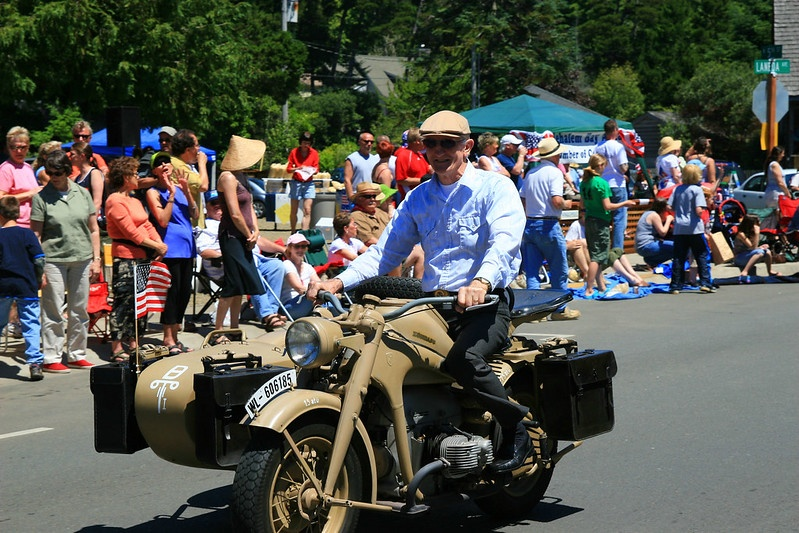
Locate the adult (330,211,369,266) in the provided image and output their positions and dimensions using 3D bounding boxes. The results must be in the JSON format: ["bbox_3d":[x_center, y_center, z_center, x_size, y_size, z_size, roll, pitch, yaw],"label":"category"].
[{"bbox_3d":[-0.824,-0.413,17.042,0.740,0.863,0.659,2,10,14],"label":"adult"}]

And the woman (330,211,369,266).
[{"bbox_3d":[-0.893,-0.465,17.385,0.740,0.863,0.659,2,10,14],"label":"woman"}]

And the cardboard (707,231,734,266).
[{"bbox_3d":[6.137,-0.336,21.570,0.184,0.504,0.530,-14,35,5],"label":"cardboard"}]

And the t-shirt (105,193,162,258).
[{"bbox_3d":[-3.591,-0.539,15.224,0.765,1.043,0.882,-2,3,12],"label":"t-shirt"}]

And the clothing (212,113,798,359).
[{"bbox_3d":[0.204,-0.297,11.311,3.688,2.360,2.128,1,-6,-3],"label":"clothing"}]

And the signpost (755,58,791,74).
[{"bbox_3d":[8.259,-4.462,24.960,0.937,0.446,0.163,2,8,18],"label":"signpost"}]
